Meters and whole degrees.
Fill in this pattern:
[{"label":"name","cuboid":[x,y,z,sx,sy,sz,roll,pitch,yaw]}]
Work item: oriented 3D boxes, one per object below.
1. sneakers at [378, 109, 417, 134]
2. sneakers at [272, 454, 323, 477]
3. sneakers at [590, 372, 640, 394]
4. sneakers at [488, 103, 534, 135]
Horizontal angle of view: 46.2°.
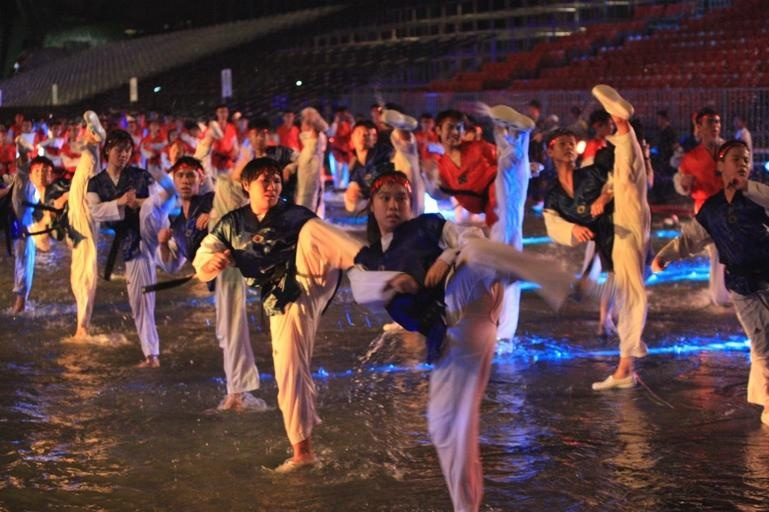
[{"label":"sneakers","cuboid":[0.182,-1.319,9.189,0.352,0.127,0.254,12,12,-46]},{"label":"sneakers","cuboid":[-0.693,1.704,7.359,0.395,0.077,0.160,-4,14,-16]},{"label":"sneakers","cuboid":[2.160,1.209,8.456,0.452,0.129,0.167,-1,-3,0]},{"label":"sneakers","cuboid":[1.327,-1.409,9.369,0.502,0.218,0.198,24,-31,12]}]
